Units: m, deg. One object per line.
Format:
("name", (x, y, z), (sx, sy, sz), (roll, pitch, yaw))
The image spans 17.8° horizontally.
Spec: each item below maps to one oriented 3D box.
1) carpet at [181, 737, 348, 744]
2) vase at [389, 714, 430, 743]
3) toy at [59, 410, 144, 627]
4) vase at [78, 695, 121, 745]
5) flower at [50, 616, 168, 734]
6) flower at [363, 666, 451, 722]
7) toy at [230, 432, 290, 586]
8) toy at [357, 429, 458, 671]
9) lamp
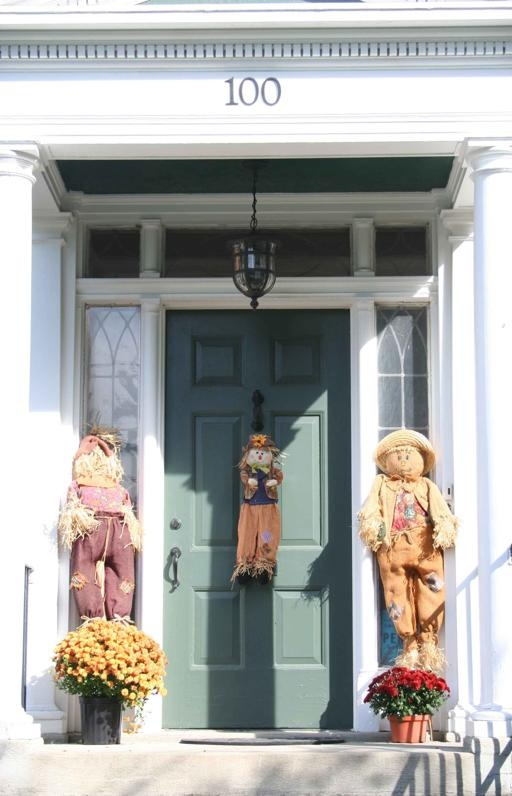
("carpet", (0.022, 1.540, 7.405), (0.739, 0.025, 0.571), (0, -9, -2))
("vase", (0.679, 1.471, 7.374), (0.141, 0.091, 0.143), (-1, -15, 3))
("toy", (-0.752, 0.611, 7.878), (0.396, 0.889, 0.254), (1, -10, -7))
("vase", (-0.696, 1.419, 7.269), (0.191, 0.184, 0.209), (1, -15, -4))
("flower", (-0.656, 1.260, 7.427), (0.498, 0.539, 0.493), (2, -11, -3))
("flower", (0.650, 1.324, 7.412), (0.240, 0.233, 0.371), (8, -12, -39))
("toy", (-0.002, 0.535, 8.078), (0.242, 0.712, 0.158), (0, -10, -1))
("toy", (0.715, 0.704, 7.797), (0.463, 1.123, 0.235), (-1, -10, 4))
("lamp", (-0.015, -0.740, 8.010), (0.209, 0.671, 0.514), (0, -10, -1))
